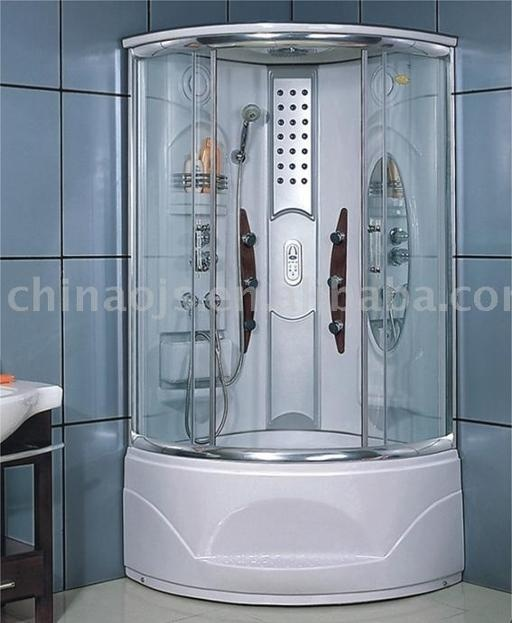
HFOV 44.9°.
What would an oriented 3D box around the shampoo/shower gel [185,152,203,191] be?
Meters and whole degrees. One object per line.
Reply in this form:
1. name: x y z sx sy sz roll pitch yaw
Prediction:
1. shampoo/shower gel: -0.214 -0.469 2.117 0.058 0.120 0.018 2 4 25
